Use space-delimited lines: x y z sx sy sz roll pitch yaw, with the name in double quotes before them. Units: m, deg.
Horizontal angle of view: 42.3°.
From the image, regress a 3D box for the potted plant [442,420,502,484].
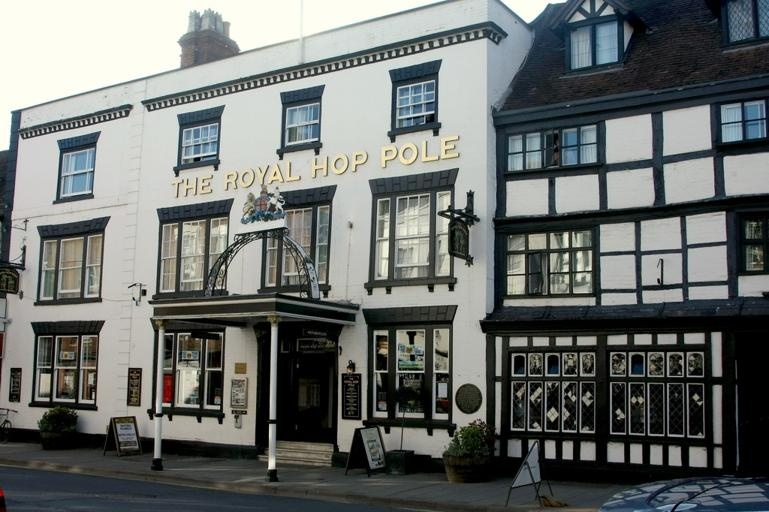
"potted plant" 2.431 5.642 28.663 1.418 1.450 1.455 -5 -12 20
